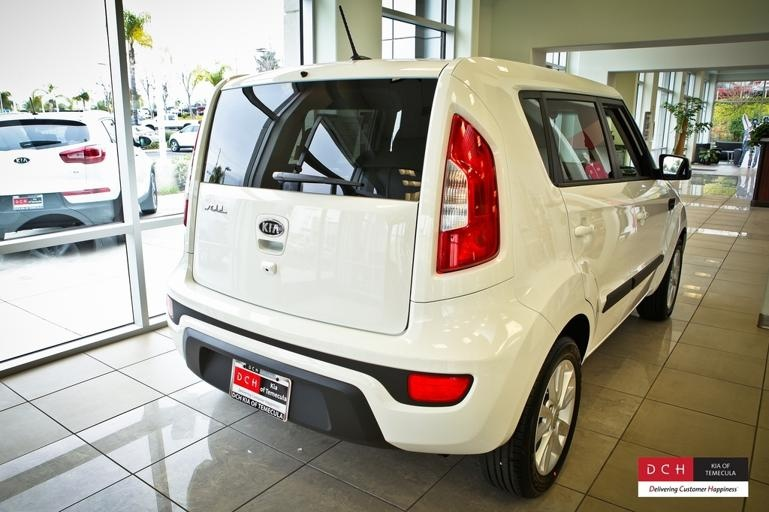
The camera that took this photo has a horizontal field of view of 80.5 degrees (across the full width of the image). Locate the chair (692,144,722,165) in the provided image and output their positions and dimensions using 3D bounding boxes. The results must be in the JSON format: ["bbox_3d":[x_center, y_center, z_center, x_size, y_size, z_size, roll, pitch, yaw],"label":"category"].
[{"bbox_3d":[15.278,-4.800,21.433,0.991,0.833,2.233,10,23,32],"label":"chair"}]

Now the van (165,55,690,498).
[{"bbox_3d":[0.853,-0.302,3.686,2.247,2.062,4.356,11,20,39],"label":"van"}]

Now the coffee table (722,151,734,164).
[{"bbox_3d":[16.854,-4.852,22.162,0.418,0.533,0.898,1,19,11],"label":"coffee table"}]
